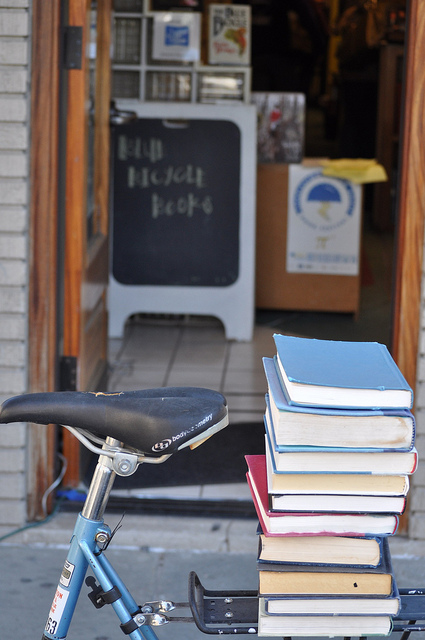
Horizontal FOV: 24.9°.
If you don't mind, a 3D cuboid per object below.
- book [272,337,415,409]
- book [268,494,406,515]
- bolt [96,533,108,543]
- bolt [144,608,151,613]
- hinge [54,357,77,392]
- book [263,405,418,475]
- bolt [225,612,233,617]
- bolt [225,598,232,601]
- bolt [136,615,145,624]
[{"bbox_3d":[0.208,0.090,1.617,0.216,0.054,0.238,5,15,-6],"label":"book"},{"bbox_3d":[0.198,0.292,1.558,0.217,0.040,0.058,2,15,5],"label":"book"},{"bbox_3d":[-0.184,0.367,1.619,0.018,0.016,0.007,-2,15,-11],"label":"bolt"},{"bbox_3d":[-0.109,0.502,1.656,0.011,0.008,0.009,-5,16,-19],"label":"bolt"},{"bbox_3d":[-0.461,0.168,3.028,0.085,0.116,0.049,-8,17,-28],"label":"hinge"},{"bbox_3d":[0.202,0.185,1.574,0.222,0.040,0.281,0,14,-9],"label":"book"},{"bbox_3d":[0.030,0.510,1.663,0.015,0.009,0.004,4,-10,2],"label":"bolt"},{"bbox_3d":[0.029,0.493,1.698,0.012,0.002,0.007,1,15,0],"label":"bolt"},{"bbox_3d":[-0.118,0.502,1.611,0.012,0.004,0.013,3,59,-7],"label":"bolt"}]
